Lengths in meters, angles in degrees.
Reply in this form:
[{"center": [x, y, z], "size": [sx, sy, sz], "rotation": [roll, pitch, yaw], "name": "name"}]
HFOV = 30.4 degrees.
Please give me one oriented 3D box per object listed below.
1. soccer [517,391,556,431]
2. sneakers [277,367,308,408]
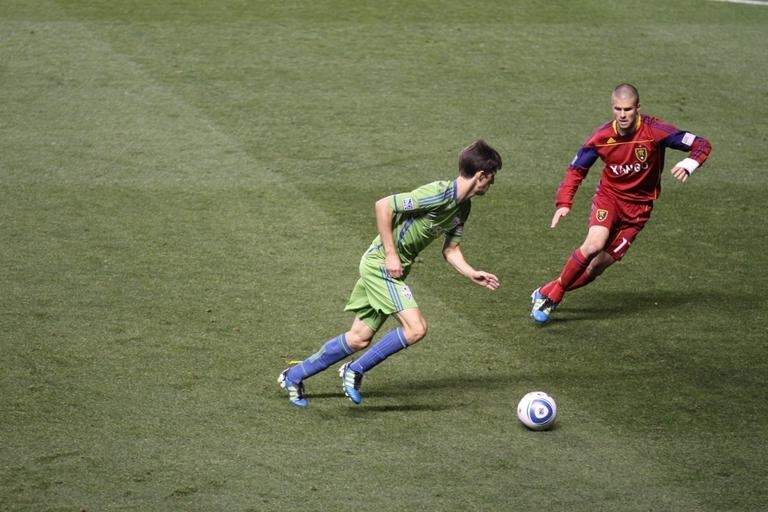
[{"center": [1.643, 1.623, 14.969], "size": [0.443, 0.409, 0.428], "rotation": [5, 1, -18], "name": "soccer"}, {"center": [-0.947, 1.442, 15.161], "size": [0.178, 0.225, 0.496], "rotation": [-1, 36, -49], "name": "sneakers"}]
